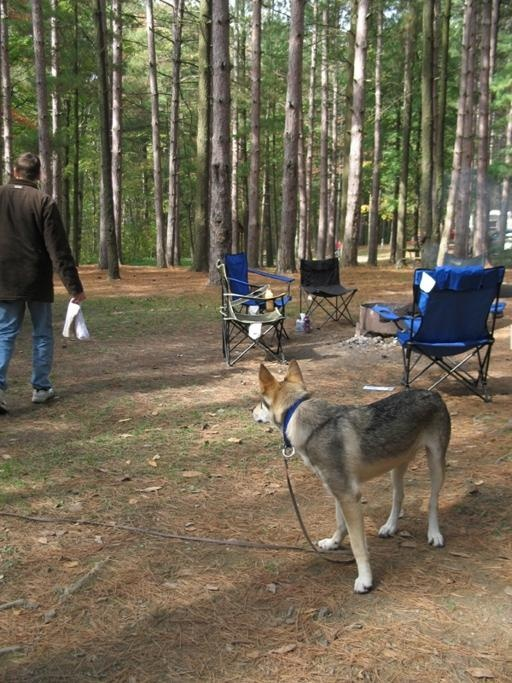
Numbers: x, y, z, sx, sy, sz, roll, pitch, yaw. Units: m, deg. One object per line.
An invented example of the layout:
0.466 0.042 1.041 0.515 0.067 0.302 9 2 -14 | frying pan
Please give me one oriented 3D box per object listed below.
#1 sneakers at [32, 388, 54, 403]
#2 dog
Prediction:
-1.784 0.430 5.749 0.079 0.088 0.223 4 10 16 | sneakers
0.434 0.538 3.251 0.713 0.899 0.745 -14 18 -42 | dog
